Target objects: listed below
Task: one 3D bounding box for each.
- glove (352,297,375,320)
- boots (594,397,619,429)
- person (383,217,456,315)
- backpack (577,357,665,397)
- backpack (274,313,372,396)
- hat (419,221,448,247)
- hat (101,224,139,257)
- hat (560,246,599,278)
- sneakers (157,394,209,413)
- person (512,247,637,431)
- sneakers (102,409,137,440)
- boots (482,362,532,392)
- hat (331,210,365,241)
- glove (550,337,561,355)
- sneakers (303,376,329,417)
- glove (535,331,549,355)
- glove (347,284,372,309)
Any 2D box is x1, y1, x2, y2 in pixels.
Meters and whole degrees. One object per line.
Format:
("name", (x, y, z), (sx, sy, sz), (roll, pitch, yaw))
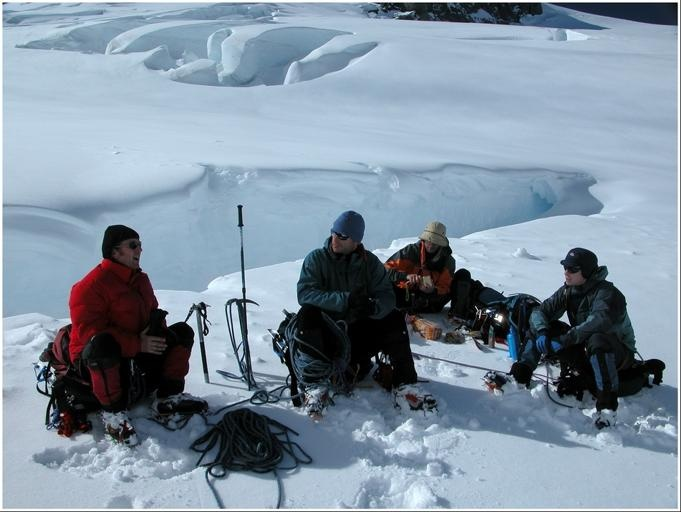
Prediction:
("glove", (0.218, 0.468, 6.314), (0.215, 0.212, 0.098), (-11, 20, -30))
("boots", (2.369, 1.430, 6.277), (0.215, 0.153, 0.381), (10, 13, 0))
("person", (0.945, 0.173, 7.907), (0.982, 1.026, 0.819), (10, 11, 20))
("backpack", (2.752, 1.235, 6.593), (0.532, 0.162, 0.403), (18, -35, -33))
("backpack", (-0.296, 0.857, 6.376), (0.821, 0.789, 0.492), (5, 19, 20))
("hat", (1.066, -0.257, 7.834), (0.285, 0.163, 0.318), (15, 9, -21))
("hat", (-1.958, -0.150, 6.010), (0.322, 0.250, 0.232), (-10, 3, -22))
("hat", (2.285, 0.025, 6.562), (0.372, 0.256, 0.242), (-18, 23, -7))
("sneakers", (-1.405, 1.329, 6.046), (0.373, 0.123, 0.188), (-1, 1, -10))
("person", (2.193, 0.707, 6.386), (0.971, 1.462, 0.870), (9, 20, 30))
("sneakers", (-1.898, 1.435, 5.866), (0.423, 0.172, 0.150), (16, 23, 33))
("boots", (1.582, 1.155, 6.458), (0.370, 0.135, 0.267), (-1, 22, -16))
("hat", (0.142, -0.299, 6.452), (0.248, 0.268, 0.340), (21, 19, 35))
("glove", (2.037, 0.860, 6.457), (0.126, 0.190, 0.148), (-7, -4, 7))
("sneakers", (-0.212, 1.281, 6.191), (0.150, 0.349, 0.157), (-1, -29, -4))
("glove", (1.908, 0.834, 6.511), (0.072, 0.170, 0.133), (-3, -19, 15))
("glove", (0.170, 0.387, 6.392), (0.182, 0.076, 0.212), (2, 46, -2))
